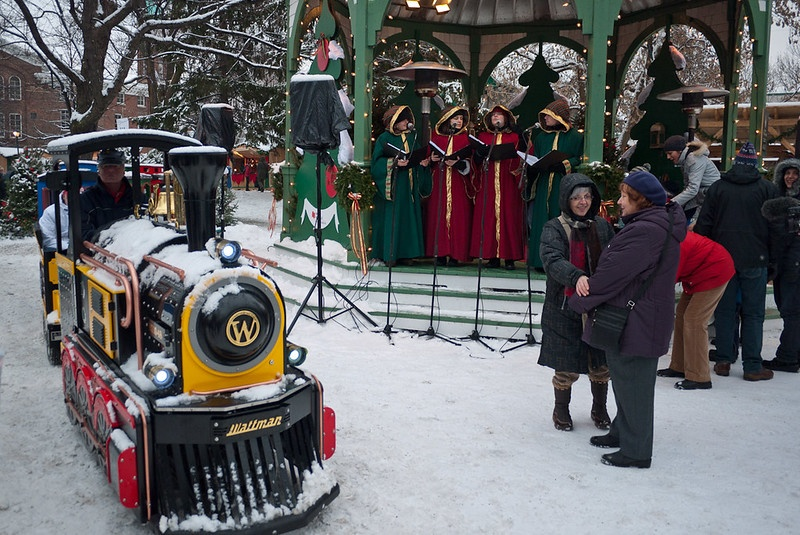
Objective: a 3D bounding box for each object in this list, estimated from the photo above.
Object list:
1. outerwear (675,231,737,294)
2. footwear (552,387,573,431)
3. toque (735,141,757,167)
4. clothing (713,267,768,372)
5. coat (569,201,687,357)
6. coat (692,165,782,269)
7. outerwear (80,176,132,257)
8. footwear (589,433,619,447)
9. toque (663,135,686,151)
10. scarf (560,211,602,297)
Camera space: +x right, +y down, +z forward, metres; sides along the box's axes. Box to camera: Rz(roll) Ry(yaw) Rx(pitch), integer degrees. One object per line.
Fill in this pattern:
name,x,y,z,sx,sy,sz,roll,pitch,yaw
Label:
outerwear,3.520,-0.130,7.856,0.509,0.646,0.742,-16,11,-24
footwear,1.675,1.451,6.925,0.152,0.396,0.381,-3,23,-1
toque,4.347,-1.424,8.478,0.294,0.351,0.280,0,6,-5
clothing,4.221,0.582,8.328,0.572,1.573,0.430,-1,-23,30
coat,2.274,0.140,6.655,0.946,1.529,1.150,3,8,26
coat,4.107,-0.572,8.167,1.056,1.520,0.553,4,11,29
outerwear,-3.219,-0.527,7.335,0.376,0.729,0.688,11,19,37
footwear,2.030,1.732,6.727,0.281,0.140,0.121,3,1,5
toque,4.031,-1.796,9.806,0.312,0.288,0.251,11,10,11
scarf,1.886,-0.229,6.867,0.317,0.864,0.263,1,38,25
